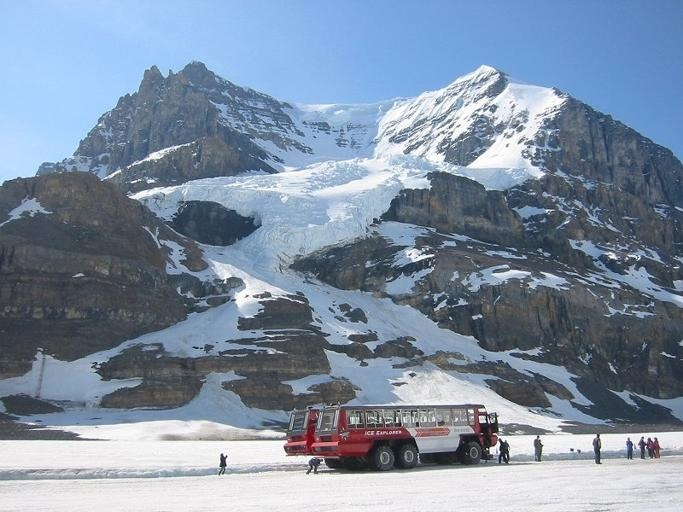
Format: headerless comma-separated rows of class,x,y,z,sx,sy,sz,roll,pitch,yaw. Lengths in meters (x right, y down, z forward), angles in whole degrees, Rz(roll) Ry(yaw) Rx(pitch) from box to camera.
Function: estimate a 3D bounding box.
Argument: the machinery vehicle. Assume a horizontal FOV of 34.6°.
machinery vehicle,7.126,25.208,152.708,22.620,6.131,11.586,1,-10,-21
